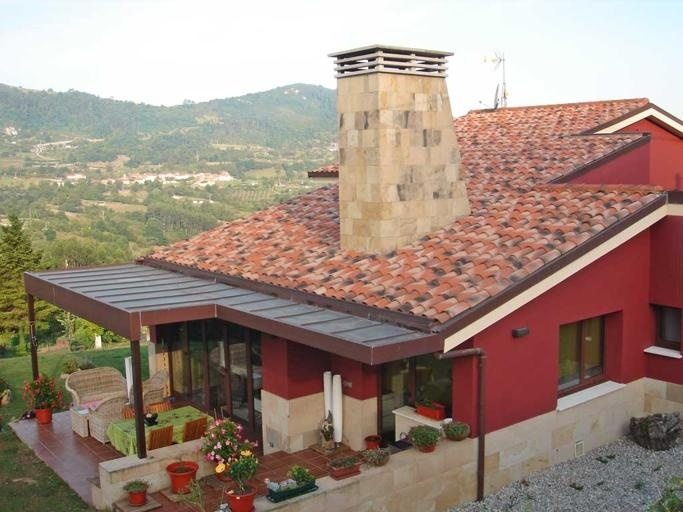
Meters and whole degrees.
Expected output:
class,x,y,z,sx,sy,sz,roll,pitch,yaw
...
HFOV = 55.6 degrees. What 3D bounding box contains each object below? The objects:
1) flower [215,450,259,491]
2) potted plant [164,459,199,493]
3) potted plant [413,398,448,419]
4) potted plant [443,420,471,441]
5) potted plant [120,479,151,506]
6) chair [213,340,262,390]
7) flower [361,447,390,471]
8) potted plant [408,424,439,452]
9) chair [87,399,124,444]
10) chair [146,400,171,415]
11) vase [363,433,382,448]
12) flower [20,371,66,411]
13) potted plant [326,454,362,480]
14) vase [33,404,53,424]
class,x,y,z,sx,sy,sz,roll,pitch,yaw
flower,-2.035,4.285,13.045,0.672,0.751,0.793,1,-18,-13
potted plant,-3.449,4.832,14.063,0.580,0.377,0.570,-7,-7,33
potted plant,2.001,3.445,14.590,0.806,0.278,0.429,3,8,44
potted plant,2.462,3.735,13.811,0.574,0.349,0.323,-4,6,-8
potted plant,-4.268,4.921,13.466,0.508,0.427,0.482,0,-7,-4
chair,-2.755,2.870,17.481,0.779,0.972,1.705,-3,6,-44
flower,0.707,4.203,13.392,0.461,0.172,0.478,-1,-2,-2
potted plant,1.738,3.845,13.655,0.544,0.340,0.535,-3,3,-40
chair,-6.326,4.406,17.715,1.110,1.168,1.084,-3,-3,10
chair,-5.089,4.204,18.017,0.342,0.535,0.396,-2,2,-37
vase,0.714,4.208,14.869,0.332,0.217,0.341,-4,1,2
flower,-8.664,4.022,18.912,0.925,1.011,0.592,-3,6,1
potted plant,0.081,4.329,13.293,0.651,0.283,0.558,-3,6,-2
vase,-8.631,4.590,18.739,0.517,0.387,0.512,0,-7,0
